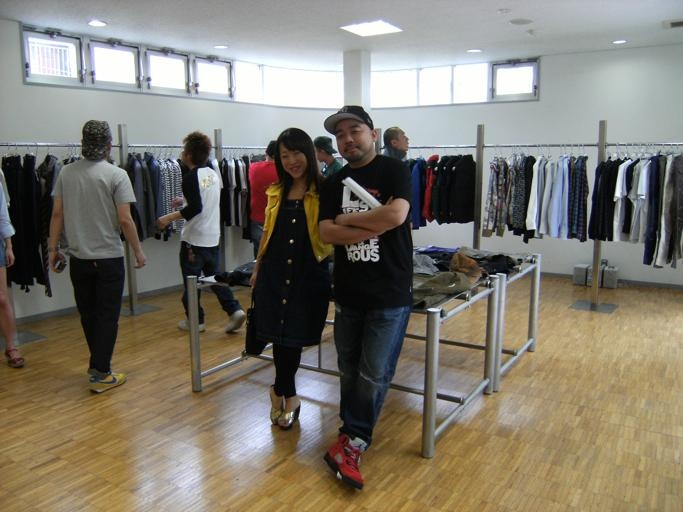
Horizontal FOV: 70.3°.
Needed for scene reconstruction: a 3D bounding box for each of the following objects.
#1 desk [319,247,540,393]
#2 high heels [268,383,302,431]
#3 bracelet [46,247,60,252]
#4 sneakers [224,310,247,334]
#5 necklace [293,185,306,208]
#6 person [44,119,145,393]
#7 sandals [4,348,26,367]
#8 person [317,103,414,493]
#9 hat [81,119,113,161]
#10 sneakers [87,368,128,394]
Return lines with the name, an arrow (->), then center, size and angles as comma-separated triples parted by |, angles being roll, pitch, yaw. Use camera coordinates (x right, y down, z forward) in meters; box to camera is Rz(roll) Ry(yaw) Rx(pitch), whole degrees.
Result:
desk -> 0.760, 0.337, 3.567 | 1.294, 0.799, 1.337 | 4, 7, 36
high heels -> -0.377, 1.053, 3.302 | 0.125, 0.153, 0.371 | 0, -2, -13
bracelet -> -2.268, -0.058, 3.844 | 0.054, 0.021, 0.053 | 5, 6, 41
sneakers -> -1.060, 0.667, 4.913 | 0.124, 0.351, 0.162 | 2, 48, -44
necklace -> -0.252, -0.384, 2.963 | 0.094, 0.079, 0.076 | 4, -5, 8
person -> -1.878, 0.013, 3.723 | 0.679, 2.048, 0.379 | 1, 11, 6
sandals -> -2.781, 0.872, 4.208 | 0.263, 0.124, 0.098 | 15, 14, 33
person -> 0.118, 0.219, 2.742 | 0.544, 2.089, 0.589 | 3, 12, 15
hat -> -1.838, -0.869, 3.653 | 0.202, 0.294, 0.169 | -7, 13, -29
sneakers -> -1.808, 0.948, 3.852 | 0.125, 0.161, 0.333 | 6, 10, 27
